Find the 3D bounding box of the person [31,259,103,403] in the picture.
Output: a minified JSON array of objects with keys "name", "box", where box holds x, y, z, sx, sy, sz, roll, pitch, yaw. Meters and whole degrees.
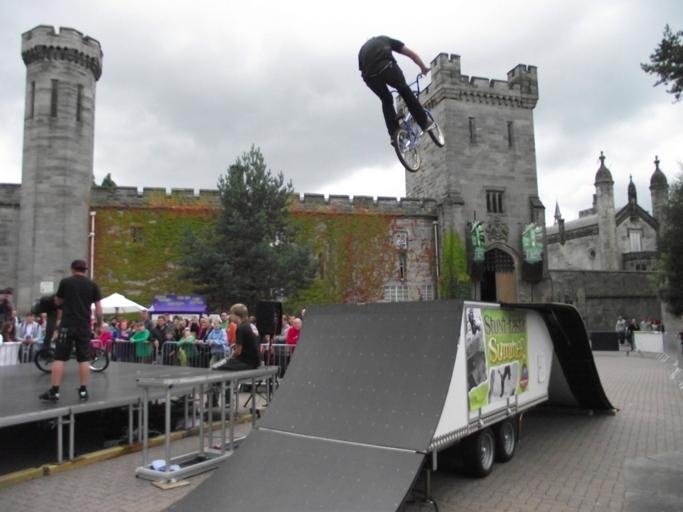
[{"name":"person","box":[-6.477,1.706,17.599,1.348,3.348,0.951,-1,-5,-19]}]
